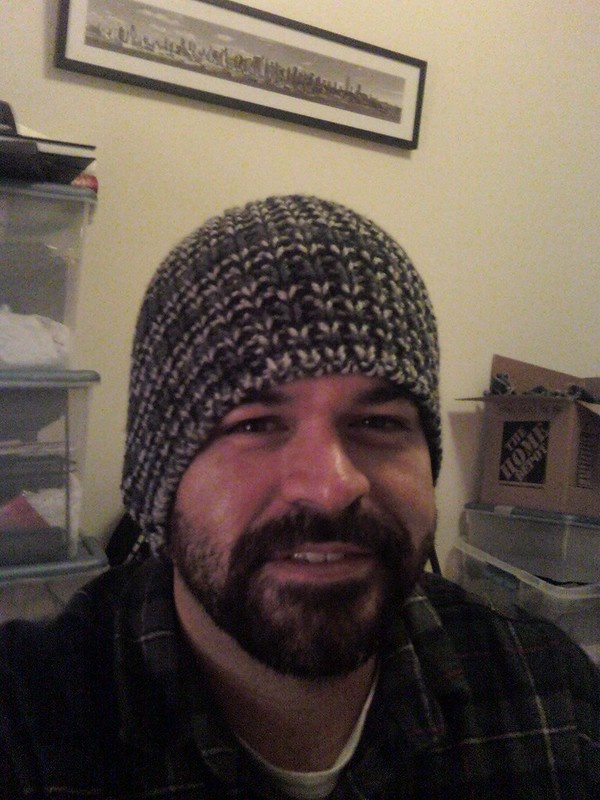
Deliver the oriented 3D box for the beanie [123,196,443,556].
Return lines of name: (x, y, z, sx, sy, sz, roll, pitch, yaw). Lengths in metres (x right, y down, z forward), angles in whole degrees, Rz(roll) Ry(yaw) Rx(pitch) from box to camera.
beanie: (-0.042, -0.005, 0.819, 0.326, 0.297, 0.308, -18, -13, 37)
